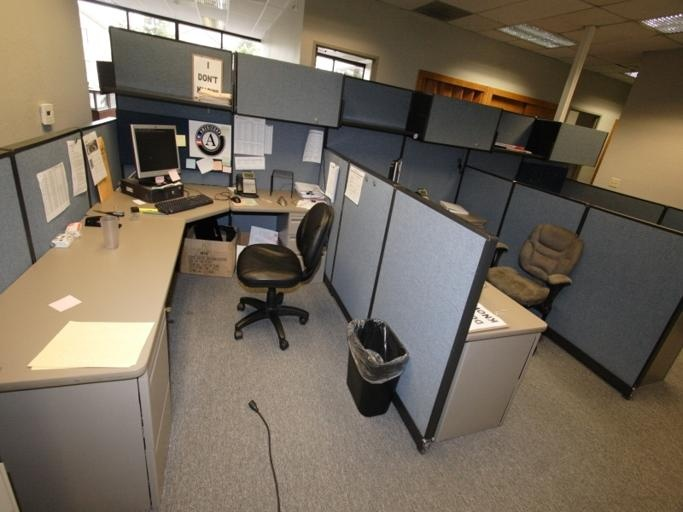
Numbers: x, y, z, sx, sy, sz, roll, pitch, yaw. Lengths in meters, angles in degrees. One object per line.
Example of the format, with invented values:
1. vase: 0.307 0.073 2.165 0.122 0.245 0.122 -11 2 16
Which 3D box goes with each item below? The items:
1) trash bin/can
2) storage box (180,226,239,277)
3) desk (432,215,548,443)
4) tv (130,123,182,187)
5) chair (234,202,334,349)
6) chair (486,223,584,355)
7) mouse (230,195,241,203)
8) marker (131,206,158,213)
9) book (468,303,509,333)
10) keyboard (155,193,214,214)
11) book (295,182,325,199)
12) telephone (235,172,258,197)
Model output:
1. trash bin/can: 0.253 0.763 3.463 0.357 0.549 0.483 -2 27 -16
2. storage box: -1.233 -0.097 4.645 0.476 0.366 0.478 2 27 -16
3. desk: 0.888 0.669 3.688 0.528 0.853 0.871 1 28 -14
4. tv: -1.509 -0.820 4.106 0.166 0.534 0.436 16 23 35
5. chair: -0.453 0.189 4.123 0.690 1.035 0.758 3 29 -18
6. chair: 1.578 0.227 4.375 0.545 1.008 0.726 -2 25 -29
7. mouse: -0.892 -0.479 4.282 0.061 0.027 0.081 0 31 -17
8. marker: -1.484 -0.350 3.831 0.141 0.037 0.079 1 17 -17
9. book: 0.908 0.401 3.222 0.183 0.043 0.206 -1 21 -5
10. keyboard: -1.242 -0.410 3.968 0.306 0.035 0.176 -13 27 -43
11. book: -0.308 -0.595 4.673 0.172 0.080 0.231 2 21 -9
12. telephone: -0.820 -0.655 4.525 0.221 0.237 0.196 -13 26 -36
